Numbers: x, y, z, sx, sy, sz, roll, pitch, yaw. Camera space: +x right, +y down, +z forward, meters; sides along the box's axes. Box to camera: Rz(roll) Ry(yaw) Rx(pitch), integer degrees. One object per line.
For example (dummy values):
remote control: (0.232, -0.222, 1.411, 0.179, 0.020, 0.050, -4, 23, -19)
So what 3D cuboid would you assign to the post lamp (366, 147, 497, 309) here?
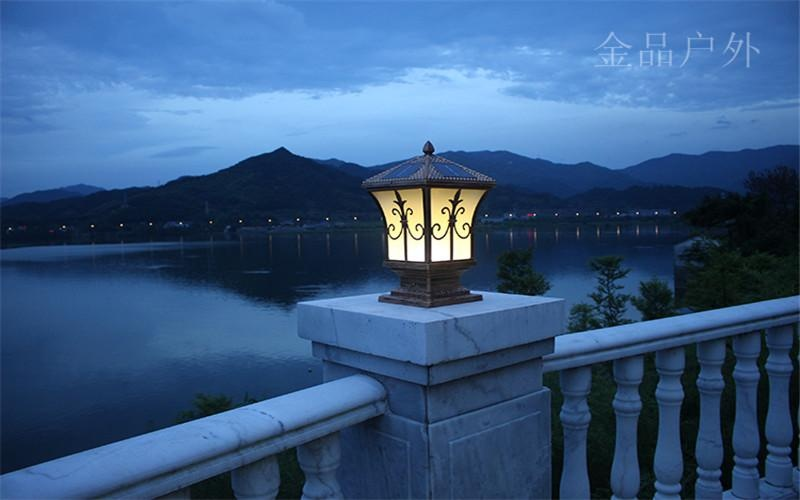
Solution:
post lamp: (0.194, -0.154, 4.771, 0.777, 1.057, 0.774, -3, 3, -31)
